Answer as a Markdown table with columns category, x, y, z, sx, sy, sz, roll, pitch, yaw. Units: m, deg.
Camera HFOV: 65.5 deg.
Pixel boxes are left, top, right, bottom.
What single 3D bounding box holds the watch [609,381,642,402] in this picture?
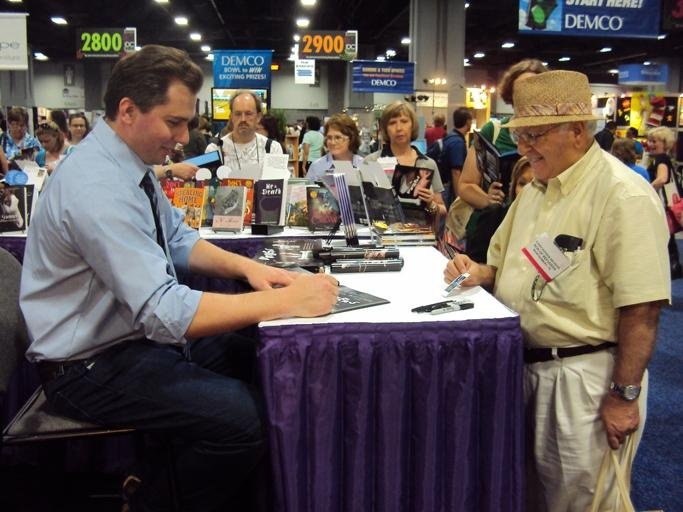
| category | x | y | z | sx | sy | sz | roll | pitch | yaw |
| --- | --- | --- | --- | --- | --- | --- | --- | --- | --- |
| watch | 0.924 | 0.443 | 1.724 | 0.073 | 0.055 | 0.082 | 4 | 3 | 5 |

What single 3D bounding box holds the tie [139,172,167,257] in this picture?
| category | x | y | z | sx | sy | sz | roll | pitch | yaw |
| --- | --- | --- | --- | --- | --- | --- | --- | --- | --- |
| tie | -0.683 | -0.149 | 1.953 | 0.070 | 0.276 | 0.096 | 3 | 19 | 0 |
